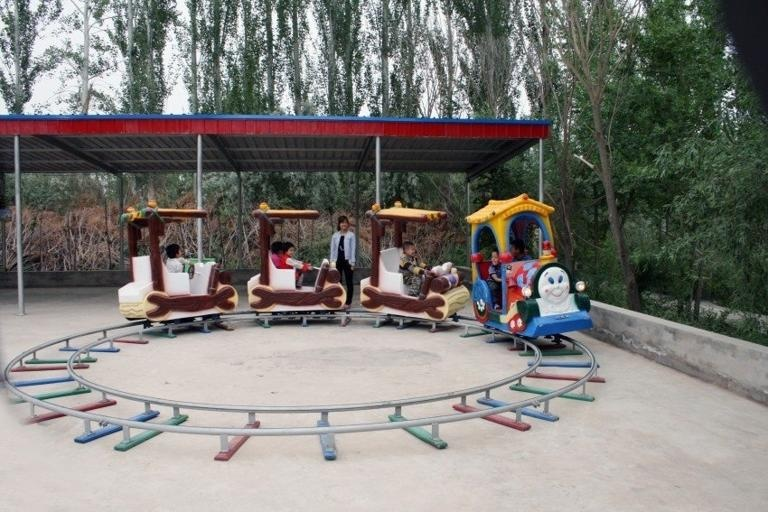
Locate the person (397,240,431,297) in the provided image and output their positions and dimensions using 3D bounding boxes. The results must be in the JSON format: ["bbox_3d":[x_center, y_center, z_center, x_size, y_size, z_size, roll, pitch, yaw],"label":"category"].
[{"bbox_3d":[0.685,0.361,14.023,0.595,1.334,0.725,-14,17,-19],"label":"person"}]
